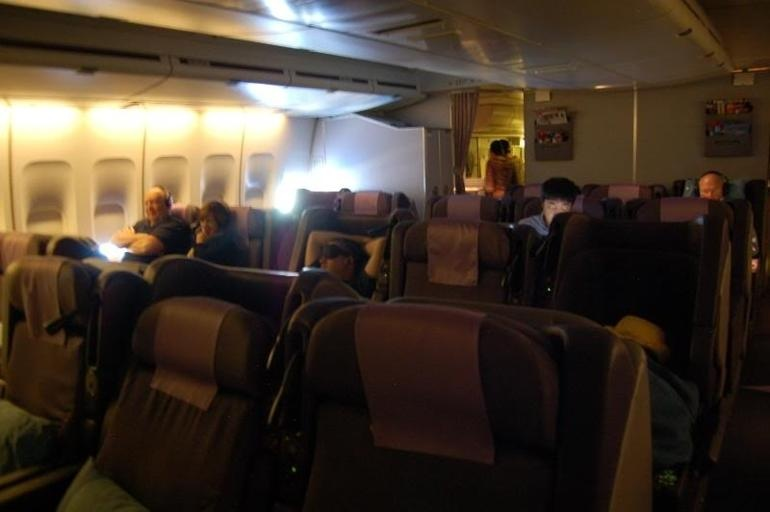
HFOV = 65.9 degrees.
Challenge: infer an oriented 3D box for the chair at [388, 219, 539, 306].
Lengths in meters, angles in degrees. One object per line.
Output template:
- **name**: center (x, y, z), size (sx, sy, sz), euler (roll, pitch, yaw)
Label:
- **chair**: center (0.554, 0.050, 4.296), size (0.627, 0.704, 0.725), euler (5, 10, 12)

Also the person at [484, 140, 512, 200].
- **person**: center (1.992, -1.511, 10.314), size (0.443, 0.943, 0.694), euler (1, 6, 16)

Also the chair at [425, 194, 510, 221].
- **chair**: center (0.775, -0.447, 5.537), size (0.432, 0.214, 0.254), euler (5, 18, 20)

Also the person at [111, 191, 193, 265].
- **person**: center (-2.407, -0.292, 6.148), size (0.877, 0.820, 0.513), euler (3, 5, 25)

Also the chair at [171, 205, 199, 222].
- **chair**: center (-2.161, -0.461, 6.414), size (0.248, 0.211, 0.249), euler (11, -7, -24)

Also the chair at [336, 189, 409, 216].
- **chair**: center (-0.160, -0.680, 7.556), size (0.705, 0.238, 0.521), euler (3, 7, 21)
